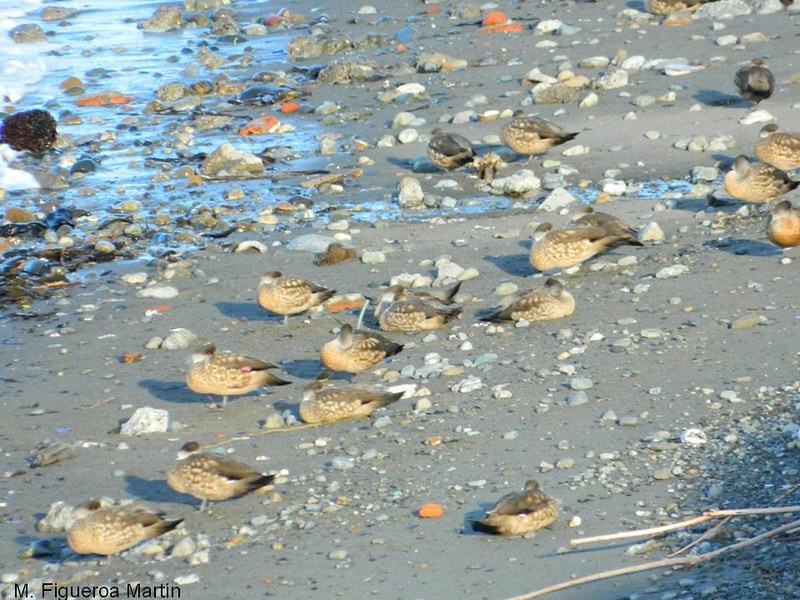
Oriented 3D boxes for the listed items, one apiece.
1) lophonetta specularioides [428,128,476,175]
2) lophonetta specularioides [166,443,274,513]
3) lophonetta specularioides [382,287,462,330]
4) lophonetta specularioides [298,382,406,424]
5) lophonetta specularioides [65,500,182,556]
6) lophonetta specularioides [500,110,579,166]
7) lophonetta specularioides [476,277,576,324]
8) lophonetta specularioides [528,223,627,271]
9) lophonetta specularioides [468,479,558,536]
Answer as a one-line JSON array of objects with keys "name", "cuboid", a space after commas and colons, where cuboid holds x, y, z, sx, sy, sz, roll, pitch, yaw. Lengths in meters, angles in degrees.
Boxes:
[{"name": "lophonetta specularioides", "cuboid": [0.815, -2.241, 15.175, 0.668, 0.707, 0.538, -11, 45, 1]}, {"name": "lophonetta specularioides", "cuboid": [-1.516, 1.541, 8.747, 1.224, 0.380, 0.599, -6, 2, 36]}, {"name": "lophonetta specularioides", "cuboid": [0.323, 0.126, 11.131, 1.071, 0.390, 0.546, 3, 18, 39]}, {"name": "lophonetta specularioides", "cuboid": [-0.544, 1.040, 9.714, 1.249, 0.257, 0.488, -2, 14, -2]}, {"name": "lophonetta specularioides", "cuboid": [-2.387, 1.952, 8.366, 1.207, 0.293, 0.426, -3, 24, -9]}, {"name": "lophonetta specularioides", "cuboid": [2.246, -2.517, 14.834, 1.251, 0.619, 0.671, 16, 48, 45]}, {"name": "lophonetta specularioides", "cuboid": [1.514, 0.046, 11.060, 1.134, 0.273, 0.451, -7, 15, 21]}, {"name": "lophonetta specularioides", "cuboid": [2.277, -0.675, 11.627, 1.322, 0.383, 0.577, -11, -9, 31]}, {"name": "lophonetta specularioides", "cuboid": [1.079, 1.734, 8.082, 0.941, 0.224, 0.342, -11, 30, -13]}]
